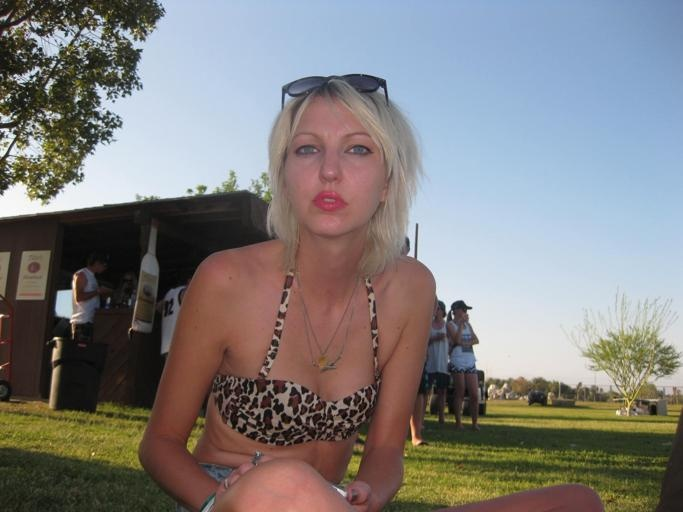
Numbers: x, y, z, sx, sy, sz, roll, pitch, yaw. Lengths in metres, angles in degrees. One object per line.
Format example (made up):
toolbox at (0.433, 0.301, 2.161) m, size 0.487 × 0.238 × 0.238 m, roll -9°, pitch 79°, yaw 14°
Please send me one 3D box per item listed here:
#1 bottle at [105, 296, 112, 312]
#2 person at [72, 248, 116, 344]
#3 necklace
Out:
bottle at (-5.232, 1.071, 12.094) m, size 0.174 × 0.391 × 0.188 m, roll -1°, pitch -9°, yaw 0°
person at (-4.132, 0.645, 8.817) m, size 0.522 × 1.481 × 1.778 m, roll 7°, pitch -9°, yaw -27°
necklace at (-0.080, 0.297, 2.388) m, size 0.287 × 0.638 × 0.080 m, roll 8°, pitch -33°, yaw -12°
